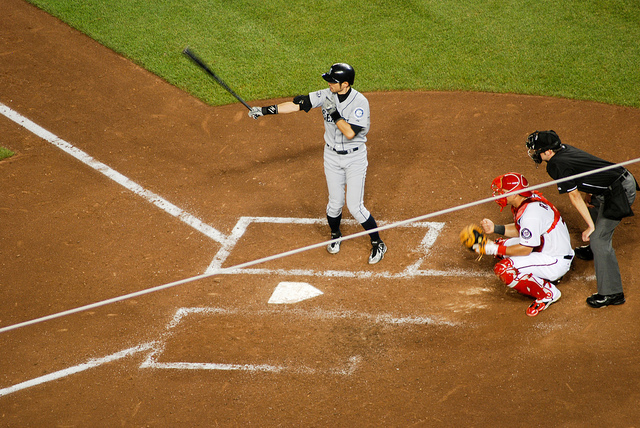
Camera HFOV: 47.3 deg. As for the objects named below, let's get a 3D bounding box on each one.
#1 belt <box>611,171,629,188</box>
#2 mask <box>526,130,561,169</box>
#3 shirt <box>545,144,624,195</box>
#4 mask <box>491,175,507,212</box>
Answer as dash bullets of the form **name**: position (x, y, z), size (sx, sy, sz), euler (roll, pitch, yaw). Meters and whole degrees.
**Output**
- **belt**: position (4.702, -0.539, 11.433), size (0.237, 0.233, 0.058), euler (-34, 91, 3)
- **mask**: position (3.449, -1.031, 11.451), size (0.535, 0.502, 0.489), euler (23, 41, 28)
- **shirt**: position (4.103, -0.593, 11.448), size (1.122, 0.520, 0.743), euler (16, 60, 10)
- **mask**: position (2.869, -0.325, 11.727), size (0.248, 0.430, 0.543), euler (-6, 97, -3)
